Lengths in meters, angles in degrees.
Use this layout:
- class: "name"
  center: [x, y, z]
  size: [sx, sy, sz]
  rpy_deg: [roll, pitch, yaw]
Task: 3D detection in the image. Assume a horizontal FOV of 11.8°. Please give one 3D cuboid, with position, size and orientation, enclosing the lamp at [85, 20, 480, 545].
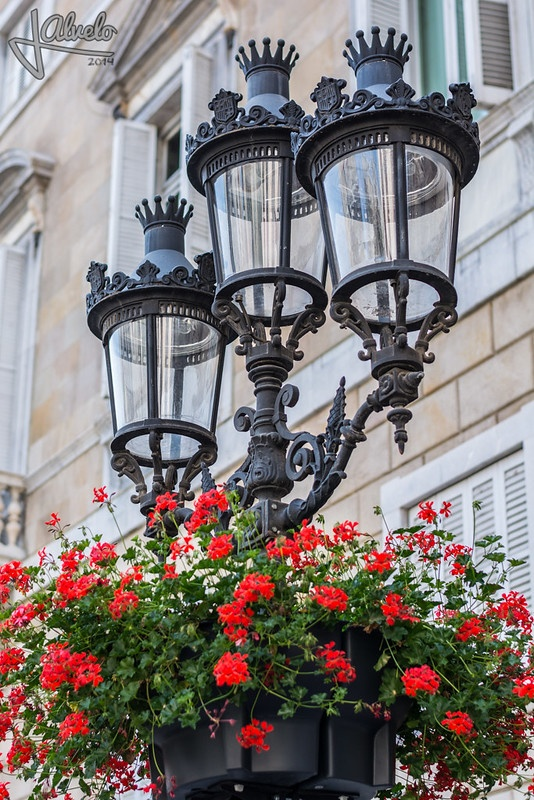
- class: "lamp"
  center: [0.049, -0.382, 7.793]
  size: [0.530, 1.772, 1.396]
  rpy_deg: [17, -31, -37]
